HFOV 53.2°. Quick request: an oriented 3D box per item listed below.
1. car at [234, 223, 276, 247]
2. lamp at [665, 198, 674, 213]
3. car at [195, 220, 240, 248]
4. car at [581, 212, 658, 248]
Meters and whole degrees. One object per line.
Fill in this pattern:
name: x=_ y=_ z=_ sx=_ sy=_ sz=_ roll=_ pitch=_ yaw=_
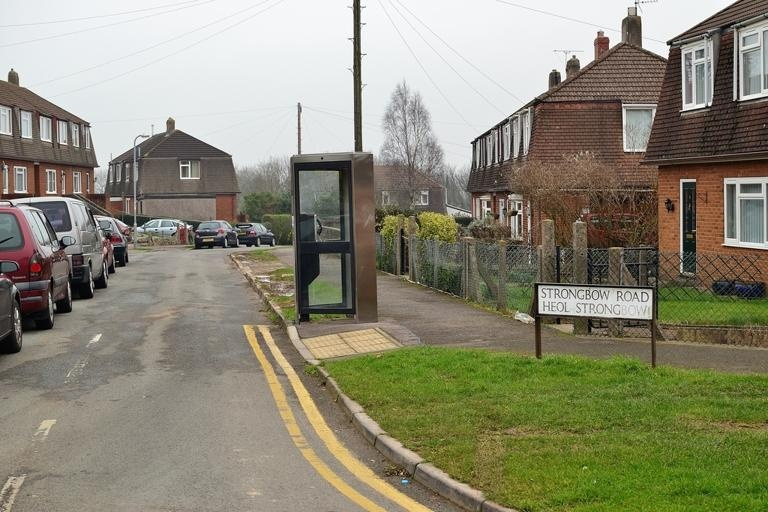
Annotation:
car: x=-9.224 y=-1.546 z=55.362 sx=1.428 sy=1.003 sz=3.095 roll=0 pitch=3 yaw=15
lamp: x=9.276 y=-1.644 z=25.135 sx=0.159 sy=0.417 sz=0.333 roll=-2 pitch=7 yaw=-8
car: x=-10.562 y=-1.346 z=49.008 sx=1.527 sy=1.789 sz=2.860 roll=2 pitch=8 yaw=28
car: x=8.577 y=-0.897 z=28.183 sx=1.565 sy=0.716 sz=2.031 roll=1 pitch=0 yaw=-6
